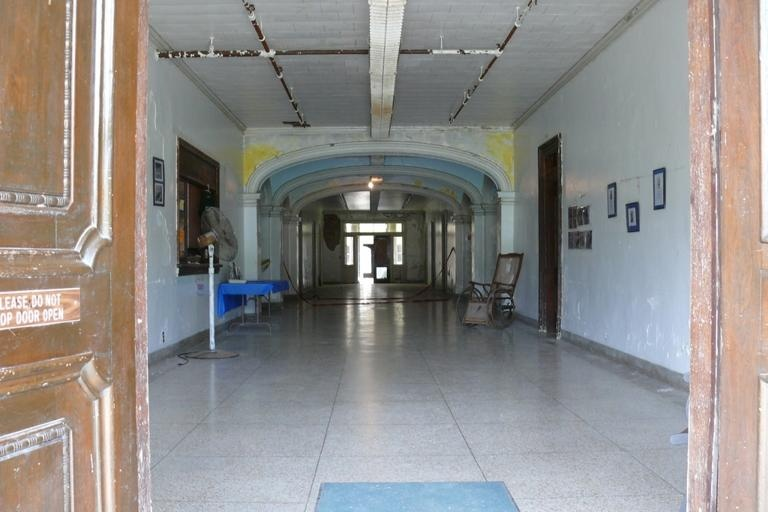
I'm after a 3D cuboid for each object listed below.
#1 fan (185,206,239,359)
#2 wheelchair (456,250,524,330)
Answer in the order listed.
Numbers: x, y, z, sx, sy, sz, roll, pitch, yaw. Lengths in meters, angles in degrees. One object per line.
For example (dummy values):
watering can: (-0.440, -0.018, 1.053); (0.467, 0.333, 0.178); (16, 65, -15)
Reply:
fan: (-2.624, 0.399, 7.523); (0.830, 2.284, 0.948); (-3, -3, -6)
wheelchair: (1.860, 0.610, 8.767); (0.950, 1.462, 0.842); (6, -4, -36)
